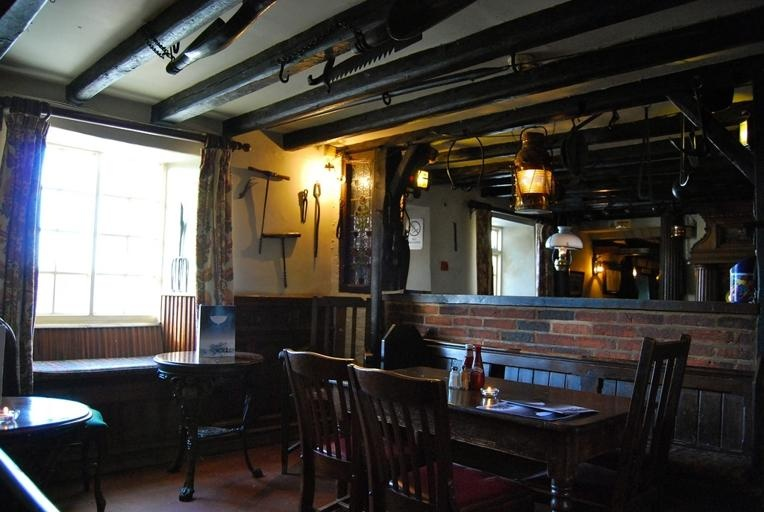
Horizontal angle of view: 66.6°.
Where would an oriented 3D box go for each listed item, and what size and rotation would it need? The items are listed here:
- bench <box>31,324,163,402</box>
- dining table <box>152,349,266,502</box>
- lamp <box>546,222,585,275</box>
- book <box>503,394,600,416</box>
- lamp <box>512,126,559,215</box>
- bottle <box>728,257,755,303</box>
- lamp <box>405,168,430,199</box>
[{"bbox_3d":[-2.648,0.984,5.357,1.180,0.555,0.496,0,12,-27],"label":"bench"},{"bbox_3d":[-1.509,1.456,5.421,1.173,1.233,1.137,5,-6,-44],"label":"dining table"},{"bbox_3d":[2.452,-0.104,7.823,0.538,0.547,0.496,3,-2,-15],"label":"lamp"},{"bbox_3d":[1.018,0.911,3.505,0.396,0.030,0.344,2,-6,-15],"label":"book"},{"bbox_3d":[1.213,-0.672,4.620,0.310,0.668,0.261,-2,-1,15],"label":"lamp"},{"bbox_3d":[2.782,0.177,4.472,0.170,0.382,0.338,-2,-1,32],"label":"bottle"},{"bbox_3d":[0.421,-0.853,6.645,0.218,0.300,0.410,-2,-1,12],"label":"lamp"}]
